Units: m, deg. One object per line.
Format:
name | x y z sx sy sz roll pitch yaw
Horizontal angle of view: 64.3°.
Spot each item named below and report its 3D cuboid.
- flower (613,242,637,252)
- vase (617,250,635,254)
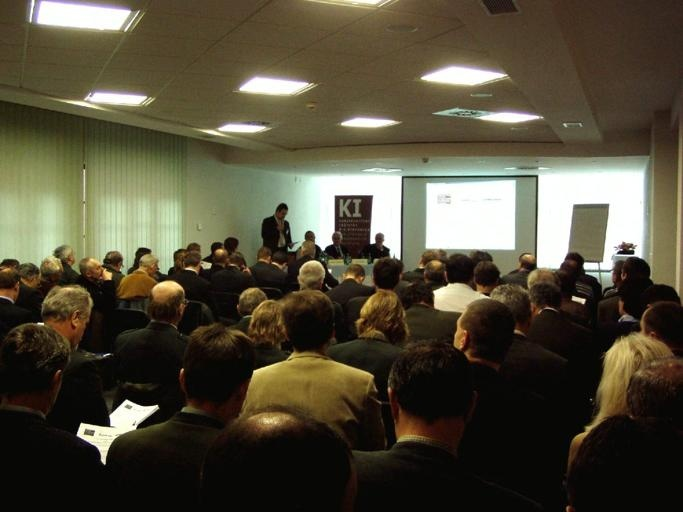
flower | 5.995 -0.179 11.453 0.321 0.292 0.589 -5 -7 42
vase | 5.860 -0.112 11.244 0.230 0.099 0.217 -4 5 -34
